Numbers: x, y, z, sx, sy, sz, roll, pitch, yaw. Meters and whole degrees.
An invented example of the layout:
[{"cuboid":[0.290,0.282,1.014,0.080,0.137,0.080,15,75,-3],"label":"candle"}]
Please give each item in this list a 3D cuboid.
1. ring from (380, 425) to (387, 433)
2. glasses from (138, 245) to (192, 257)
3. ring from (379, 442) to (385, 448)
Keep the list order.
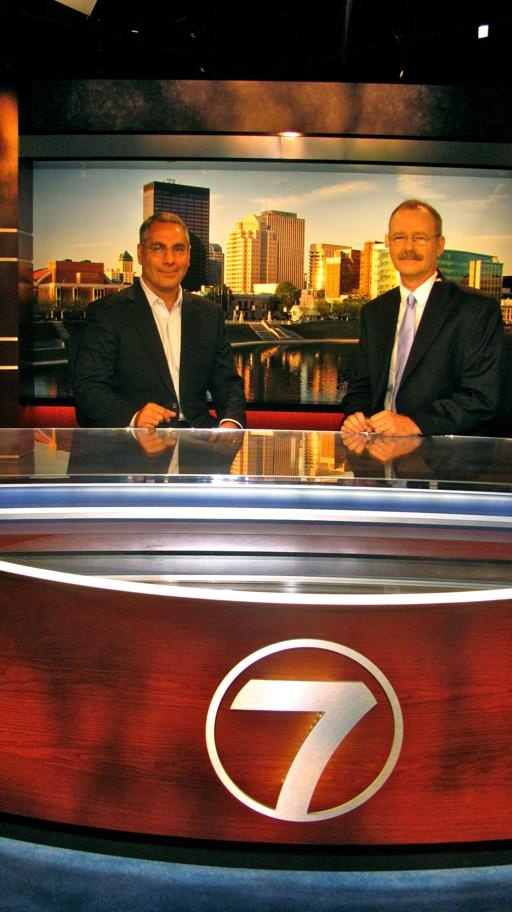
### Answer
[{"cuboid":[0.261,-0.056,1.467,0.007,0.008,0.012,-22,15,13],"label":"ring"},{"cuboid":[-0.266,-0.594,2.083,0.123,0.028,0.044,1,12,-6],"label":"glasses"},{"cuboid":[0.189,-0.017,1.075,0.006,0.002,0.007,-31,22,14],"label":"ring"}]
